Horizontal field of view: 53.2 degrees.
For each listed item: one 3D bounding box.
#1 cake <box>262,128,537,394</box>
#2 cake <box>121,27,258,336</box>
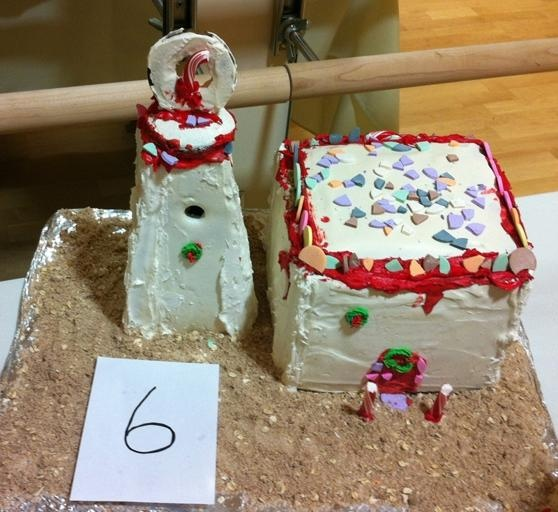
[{"bbox_3d":[0.221,0.045,1.570,0.786,0.471,0.613,0,51,-2],"label":"cake"},{"bbox_3d":[-0.223,-0.139,1.290,0.337,0.698,0.467,0,58,-2],"label":"cake"}]
